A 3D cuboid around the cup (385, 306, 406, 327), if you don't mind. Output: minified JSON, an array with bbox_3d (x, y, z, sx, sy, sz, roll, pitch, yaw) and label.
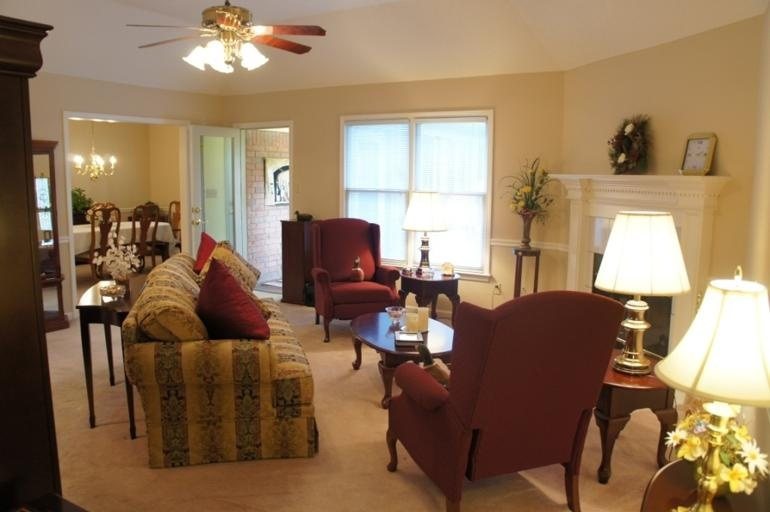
[{"bbox_3d":[0.094,0.524,4.856,0.160,0.143,0.160,0,-4,0],"label":"cup"}]

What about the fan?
[{"bbox_3d":[-0.976,-1.636,4.107,0.841,0.349,0.827,-6,16,-27],"label":"fan"}]

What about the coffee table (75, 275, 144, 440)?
[{"bbox_3d":[-2.051,0.805,4.287,0.439,0.739,1.045,0,9,-14],"label":"coffee table"}]

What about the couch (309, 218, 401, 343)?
[{"bbox_3d":[-0.412,0.286,6.382,1.244,1.637,1.161,0,-2,-16],"label":"couch"}]

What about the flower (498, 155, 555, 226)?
[{"bbox_3d":[1.530,-0.704,5.960,0.571,0.575,0.615,5,1,-16],"label":"flower"}]

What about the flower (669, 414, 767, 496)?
[{"bbox_3d":[1.386,0.805,2.501,0.360,0.342,0.395,8,-10,-13],"label":"flower"}]

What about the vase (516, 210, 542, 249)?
[{"bbox_3d":[1.514,-0.278,6.096,0.176,0.419,0.391,5,15,15],"label":"vase"}]

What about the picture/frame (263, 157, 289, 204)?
[{"bbox_3d":[-1.630,-1.107,8.467,0.075,0.684,0.693,2,6,28],"label":"picture/frame"}]

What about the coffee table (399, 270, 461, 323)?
[{"bbox_3d":[0.457,0.416,6.213,0.518,0.559,0.472,-5,9,-29],"label":"coffee table"}]

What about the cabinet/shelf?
[{"bbox_3d":[-3.460,-0.203,5.950,0.246,1.946,0.569,-3,15,-16],"label":"cabinet/shelf"}]

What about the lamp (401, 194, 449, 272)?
[{"bbox_3d":[0.443,-0.303,6.261,0.445,0.821,0.661,3,14,8],"label":"lamp"}]

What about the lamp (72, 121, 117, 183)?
[{"bbox_3d":[-4.645,-1.638,9.137,0.577,0.920,0.954,2,14,2],"label":"lamp"}]

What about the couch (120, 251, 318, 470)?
[{"bbox_3d":[-1.121,0.960,4.100,1.098,0.921,1.972,-2,15,-14],"label":"couch"}]

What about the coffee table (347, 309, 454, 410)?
[{"bbox_3d":[0.173,0.715,4.617,0.665,0.367,0.987,-1,10,-16],"label":"coffee table"}]
